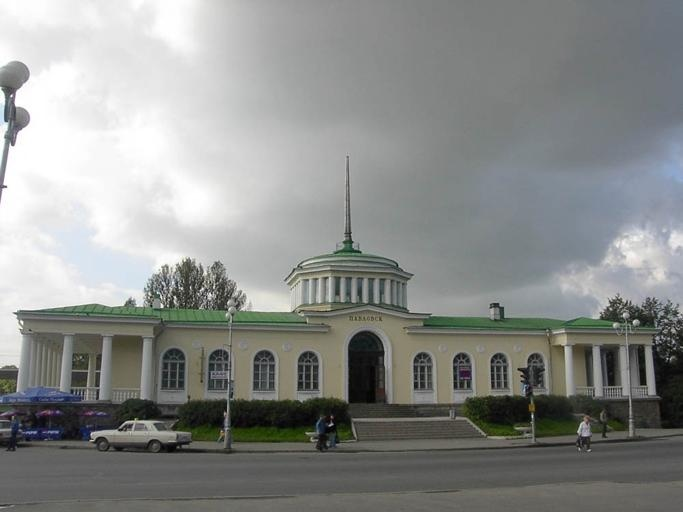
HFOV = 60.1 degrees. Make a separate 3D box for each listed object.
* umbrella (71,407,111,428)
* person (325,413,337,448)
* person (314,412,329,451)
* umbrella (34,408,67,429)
[{"bbox_3d":[-15.317,9.849,36.326,1.352,1.007,1.390,-2,-25,1],"label":"umbrella"},{"bbox_3d":[-0.705,9.845,32.894,0.655,1.373,0.799,-3,-12,11],"label":"person"},{"bbox_3d":[-1.025,9.471,31.844,0.576,1.845,1.382,-2,-16,4],"label":"person"},{"bbox_3d":[-17.350,9.515,35.308,1.246,1.472,1.316,-6,-21,17],"label":"umbrella"}]
